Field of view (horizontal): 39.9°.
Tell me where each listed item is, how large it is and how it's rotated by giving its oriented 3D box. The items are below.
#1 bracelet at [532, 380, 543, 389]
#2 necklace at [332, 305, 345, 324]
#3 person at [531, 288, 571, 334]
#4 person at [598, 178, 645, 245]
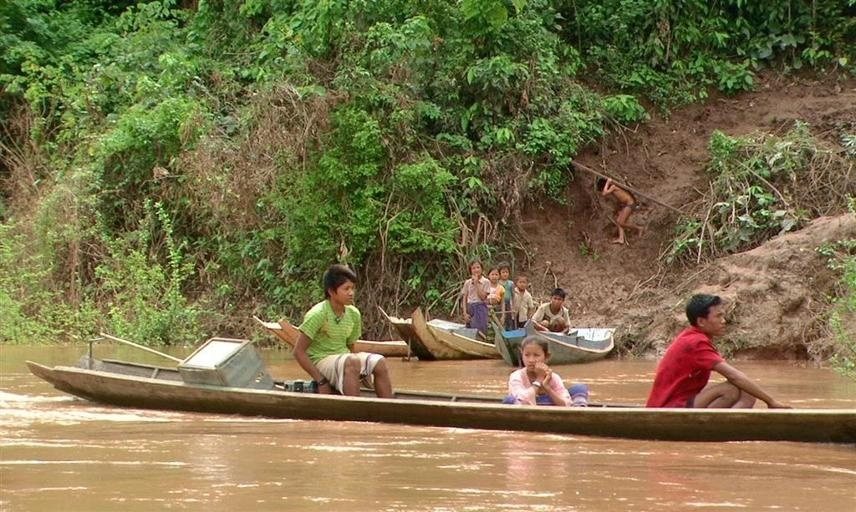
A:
[{"bbox_3d":[1.709,2.006,18.482,0.115,0.076,0.124,12,-9,31],"label":"bracelet"},{"bbox_3d":[-1.430,0.925,18.942,0.202,0.251,0.208,0,-5,-10],"label":"necklace"},{"bbox_3d":[2.494,1.058,23.557,0.888,1.126,0.864,3,-13,-5],"label":"person"},{"bbox_3d":[4.322,-0.933,26.525,0.917,1.472,0.861,6,-33,-10],"label":"person"}]
